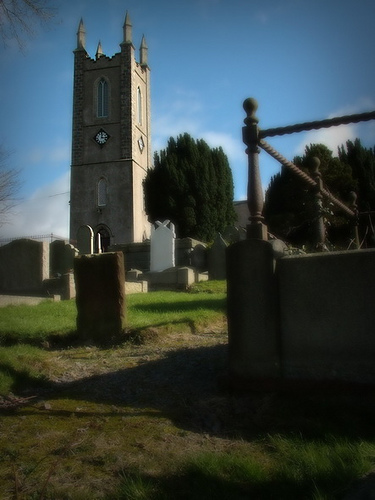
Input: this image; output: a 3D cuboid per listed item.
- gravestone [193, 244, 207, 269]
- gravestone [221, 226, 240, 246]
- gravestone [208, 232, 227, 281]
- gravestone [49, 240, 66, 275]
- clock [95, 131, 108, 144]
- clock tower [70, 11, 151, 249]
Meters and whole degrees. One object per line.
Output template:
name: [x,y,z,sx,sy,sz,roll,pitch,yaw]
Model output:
gravestone: [0.420,0.209,16.733,0.429,0.773,0.459,1,-1,-2]
gravestone: [1.473,-0.486,16.828,0.778,0.427,0.837,3,15,25]
gravestone: [0.909,0.196,15.462,0.668,1.533,0.156,-1,13,-5]
gravestone: [-3.916,0.221,15.634,0.506,1.220,0.133,-5,29,-18]
clock: [-5.150,-6.767,31.135,0.819,0.771,0.212,1,-1,27]
clock tower: [-4.855,-6.799,32.672,4.547,14.949,4.968,0,0,13]
